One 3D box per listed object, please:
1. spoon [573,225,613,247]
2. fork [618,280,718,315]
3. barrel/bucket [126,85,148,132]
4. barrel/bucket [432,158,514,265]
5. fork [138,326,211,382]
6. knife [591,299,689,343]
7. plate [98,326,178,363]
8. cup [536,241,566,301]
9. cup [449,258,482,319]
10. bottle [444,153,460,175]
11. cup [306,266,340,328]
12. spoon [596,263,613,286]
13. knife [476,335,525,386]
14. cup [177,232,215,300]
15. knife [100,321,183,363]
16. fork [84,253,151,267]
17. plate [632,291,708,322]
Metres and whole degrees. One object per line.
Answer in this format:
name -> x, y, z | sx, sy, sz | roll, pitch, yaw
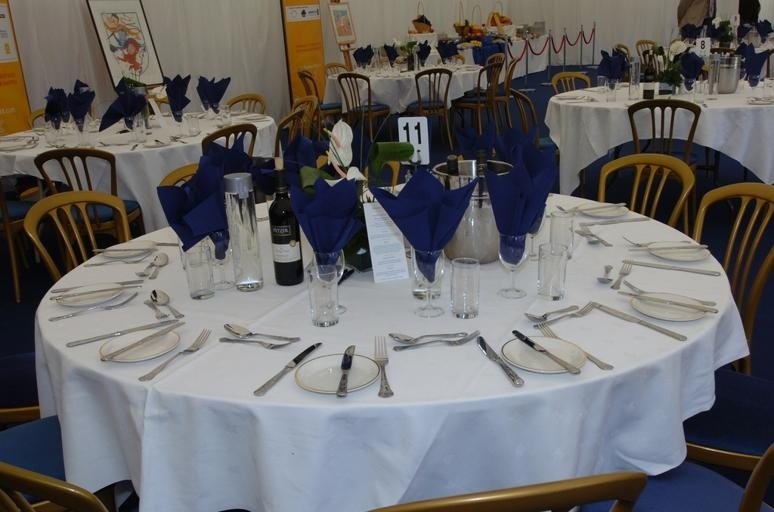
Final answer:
spoon -> 0.829, -0.091, 2.352 | 0.052, 0.034, 0.198 | -2, 16, -6
fork -> 0.920, 0.143, 1.918 | 0.302, 0.020, 0.099 | 17, 44, 30
barrel/bucket -> -1.980, -1.180, 4.608 | 0.110, 0.410, 0.098 | 11, 19, 9
barrel/bucket -> 0.317, -0.169, 2.193 | 0.308, 0.430, 0.348 | -5, 22, 0
fork -> -0.647, 0.303, 1.749 | 0.023, 0.031, 0.191 | 9, 36, 26
knife -> 0.799, 0.210, 1.815 | 0.032, 0.015, 0.227 | -33, 39, -25
plate -> -0.760, 0.278, 1.787 | 0.110, 0.026, 0.156 | 11, 23, 33
cup -> 0.573, 0.073, 1.964 | 0.095, 0.155, 0.091 | 4, 9, -1
cup -> 0.256, 0.103, 1.891 | 0.106, 0.182, 0.118 | 3, 9, 17
bottle -> 0.238, -0.336, 2.123 | 0.061, 0.084, 0.069 | 0, 16, 3
cup -> -0.211, 0.121, 1.900 | 0.098, 0.205, 0.110 | -3, 0, -13
spoon -> 0.779, 0.069, 2.053 | 0.039, 0.030, 0.082 | 3, 32, 19
knife -> 0.325, 0.308, 1.669 | 0.043, 0.021, 0.272 | -23, 27, 2
cup -> -0.656, 0.058, 2.090 | 0.114, 0.219, 0.121 | 1, -12, 0
knife -> -0.750, 0.281, 1.777 | 0.110, 0.026, 0.153 | 13, 30, 36
fork -> -1.085, 0.019, 2.335 | 0.208, 0.037, 0.032 | -1, 43, -10
plate -> 0.899, 0.173, 1.859 | 0.111, 0.020, 0.125 | 1, 27, 8
